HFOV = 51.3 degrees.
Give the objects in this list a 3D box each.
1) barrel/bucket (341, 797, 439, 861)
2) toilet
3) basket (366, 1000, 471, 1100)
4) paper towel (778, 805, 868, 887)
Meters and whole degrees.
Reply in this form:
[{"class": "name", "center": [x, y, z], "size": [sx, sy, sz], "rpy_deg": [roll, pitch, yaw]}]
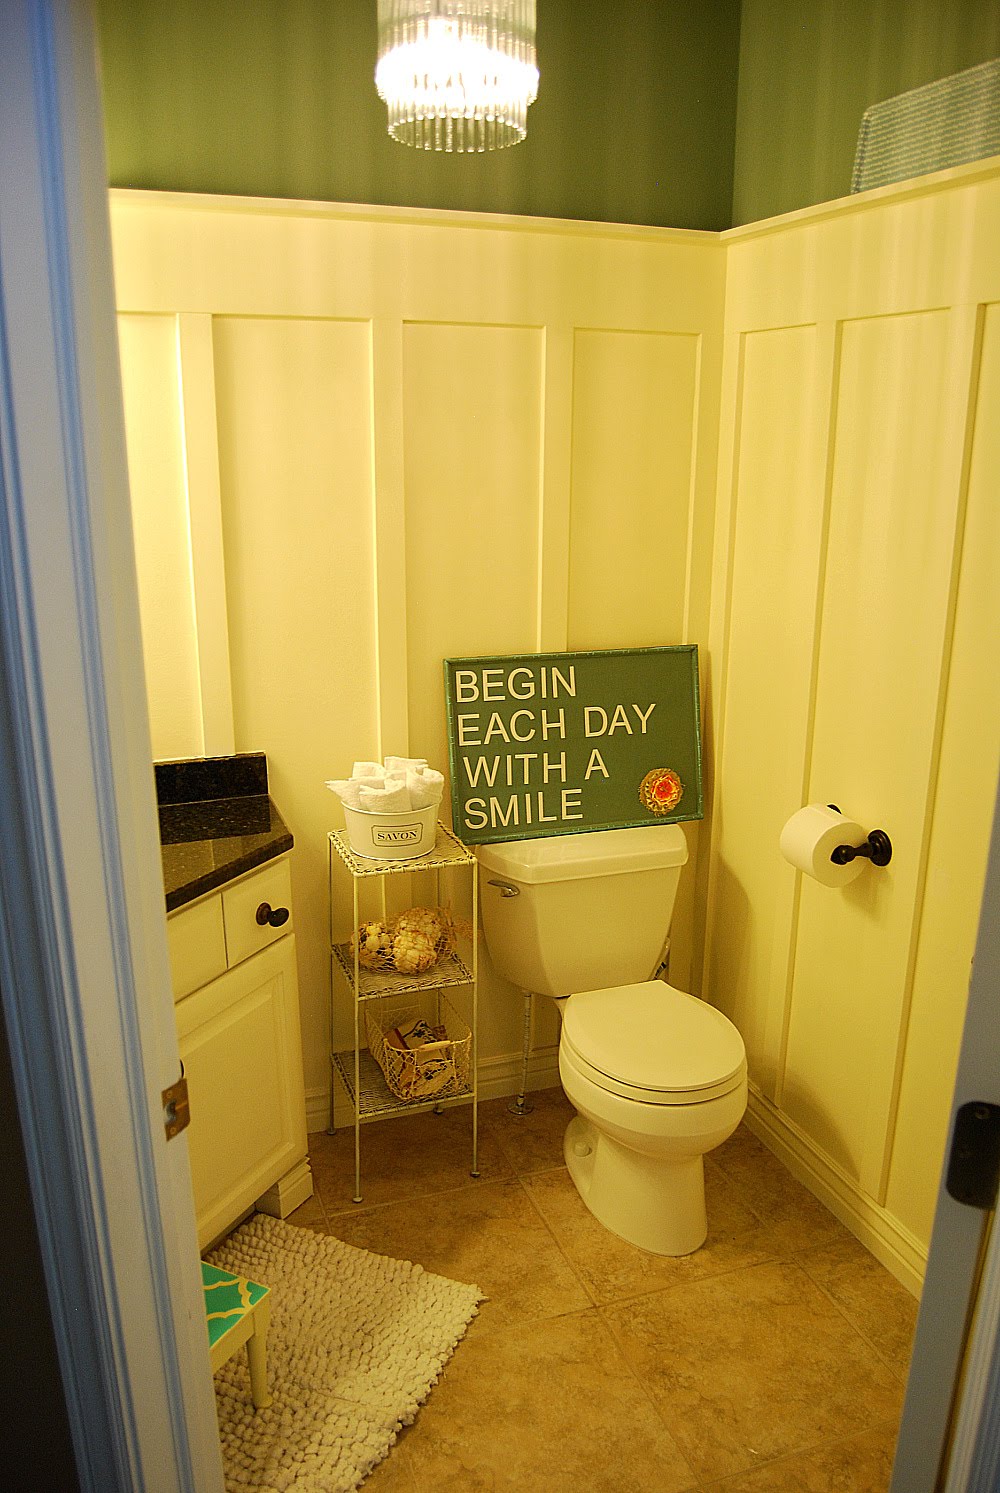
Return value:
[{"class": "barrel/bucket", "center": [-0.232, 0.169, 2.242], "size": [0.131, 0.083, 0.137], "rpy_deg": [1, 19, 0]}, {"class": "toilet", "center": [0.286, 0.662, 2.380], "size": [0.455, 0.761, 0.714], "rpy_deg": [-4, 15, -18]}, {"class": "basket", "center": [-0.208, 0.722, 2.492], "size": [0.149, 0.105, 0.244], "rpy_deg": [-1, 3, -15]}, {"class": "paper towel", "center": [0.641, 0.190, 2.126], "size": [0.140, 0.155, 0.177], "rpy_deg": [-6, 7, 3]}]
